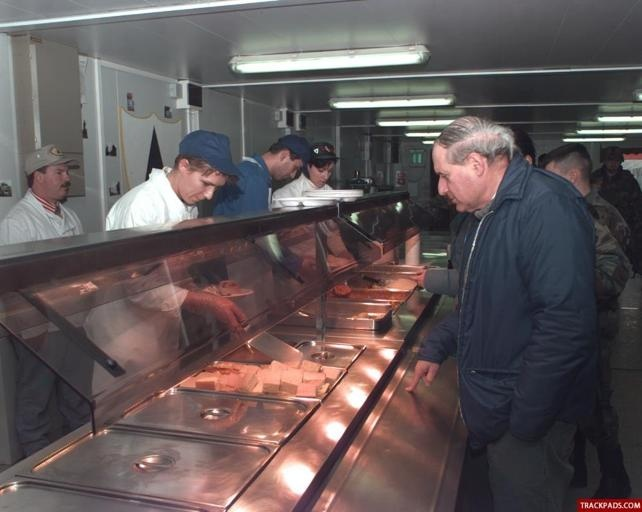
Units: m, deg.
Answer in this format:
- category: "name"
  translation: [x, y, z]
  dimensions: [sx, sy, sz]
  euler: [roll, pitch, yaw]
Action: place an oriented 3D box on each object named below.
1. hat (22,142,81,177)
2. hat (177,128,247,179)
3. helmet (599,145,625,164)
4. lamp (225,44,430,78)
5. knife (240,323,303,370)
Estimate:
- category: "hat"
  translation: [-1.421, -0.497, 2.754]
  dimensions: [0.261, 0.128, 0.186]
  euler: [-12, 16, -13]
- category: "hat"
  translation: [-0.405, -0.390, 1.937]
  dimensions: [0.215, 0.108, 0.156]
  euler: [23, 16, 5]
- category: "helmet"
  translation: [2.004, -0.702, 3.530]
  dimensions: [0.145, 0.100, 0.103]
  euler: [3, 4, 24]
- category: "lamp"
  translation: [0.015, -1.137, 2.956]
  dimensions: [1.174, 0.163, 0.277]
  euler: [-1, 12, 17]
- category: "knife"
  translation: [-0.162, 0.334, 1.841]
  dimensions: [0.183, 0.047, 0.169]
  euler: [25, 6, 18]
